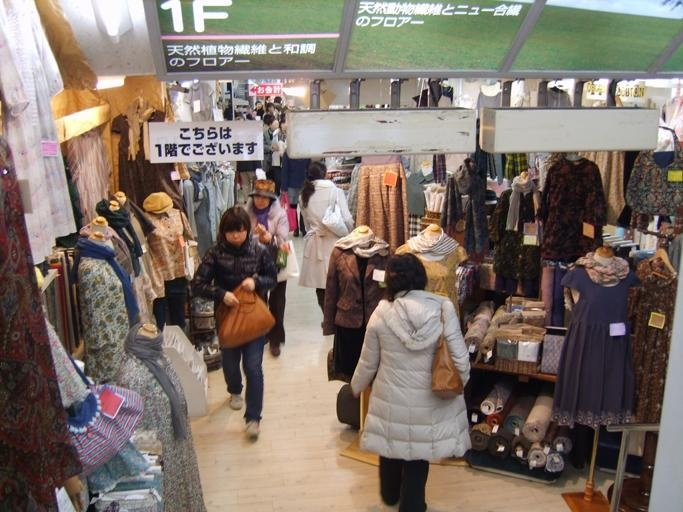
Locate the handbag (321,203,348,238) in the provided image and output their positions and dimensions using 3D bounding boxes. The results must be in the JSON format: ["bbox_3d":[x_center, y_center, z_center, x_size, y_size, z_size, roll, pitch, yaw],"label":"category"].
[{"bbox_3d":[-0.099,-0.407,5.861,0.146,0.351,0.374,-13,40,-22],"label":"handbag"}]

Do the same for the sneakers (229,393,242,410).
[{"bbox_3d":[-1.058,1.469,5.080,0.093,0.169,0.137,2,-8,12],"label":"sneakers"}]

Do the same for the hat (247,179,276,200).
[{"bbox_3d":[-0.861,-0.768,5.769,0.210,0.136,0.245,2,-8,10],"label":"hat"}]

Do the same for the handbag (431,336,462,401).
[{"bbox_3d":[0.673,0.726,3.261,0.194,0.376,0.199,2,14,11],"label":"handbag"}]

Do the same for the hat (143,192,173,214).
[{"bbox_3d":[-1.875,-0.531,5.174,0.254,0.114,0.188,6,32,40],"label":"hat"}]

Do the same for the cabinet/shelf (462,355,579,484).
[{"bbox_3d":[1.573,1.458,4.497,0.907,0.616,0.819,5,15,20],"label":"cabinet/shelf"}]
